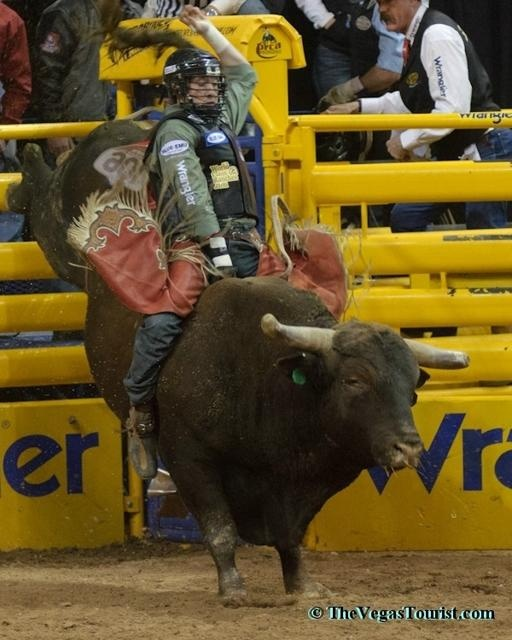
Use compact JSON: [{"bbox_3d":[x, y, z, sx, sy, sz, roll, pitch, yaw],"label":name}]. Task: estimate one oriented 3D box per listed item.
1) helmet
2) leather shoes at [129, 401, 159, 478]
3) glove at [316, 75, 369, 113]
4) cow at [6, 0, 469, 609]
[{"bbox_3d":[-0.278,-1.061,5.449,0.248,0.265,0.304,-14,17,-38],"label":"helmet"},{"bbox_3d":[-0.490,0.529,5.323,0.140,0.333,0.158,-5,6,-13],"label":"leather shoes"},{"bbox_3d":[0.558,-1.458,7.937,0.489,0.143,0.129,-33,37,-32],"label":"glove"},{"bbox_3d":[-0.078,0.104,5.424,1.240,2.591,2.110,-21,34,-15],"label":"cow"}]
